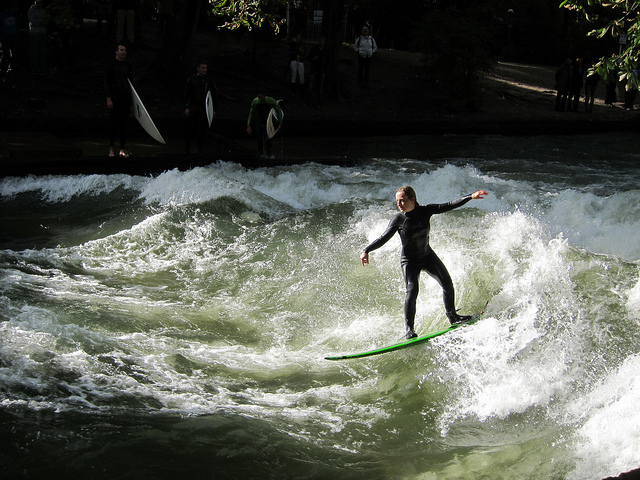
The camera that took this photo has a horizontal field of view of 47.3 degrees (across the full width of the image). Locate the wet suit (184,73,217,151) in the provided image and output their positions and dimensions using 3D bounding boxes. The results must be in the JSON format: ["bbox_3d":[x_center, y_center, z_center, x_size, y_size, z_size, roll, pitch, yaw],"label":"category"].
[{"bbox_3d":[-2.526,-2.733,15.518,0.726,2.211,0.484,3,4,-3],"label":"wet suit"}]

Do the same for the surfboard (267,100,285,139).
[{"bbox_3d":[-1.024,-2.787,16.940,0.292,0.868,0.625,7,13,6],"label":"surfboard"}]

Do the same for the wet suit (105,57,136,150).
[{"bbox_3d":[-4.061,-2.706,14.786,0.521,1.849,0.945,2,13,-15],"label":"wet suit"}]

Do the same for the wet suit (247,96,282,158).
[{"bbox_3d":[-1.277,-2.683,17.042,0.797,1.881,0.547,-3,46,-6],"label":"wet suit"}]

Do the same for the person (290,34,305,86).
[{"bbox_3d":[-0.685,-5.682,23.193,0.508,1.553,1.014,5,13,-3],"label":"person"}]

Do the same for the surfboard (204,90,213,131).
[{"bbox_3d":[-2.345,-2.781,15.437,0.151,0.732,0.251,7,13,6],"label":"surfboard"}]

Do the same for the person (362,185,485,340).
[{"bbox_3d":[1.291,0.299,9.619,1.315,2.033,0.428,6,13,2],"label":"person"}]

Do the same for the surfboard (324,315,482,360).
[{"bbox_3d":[1.203,1.376,10.182,1.609,0.126,0.172,-18,4,3],"label":"surfboard"}]
